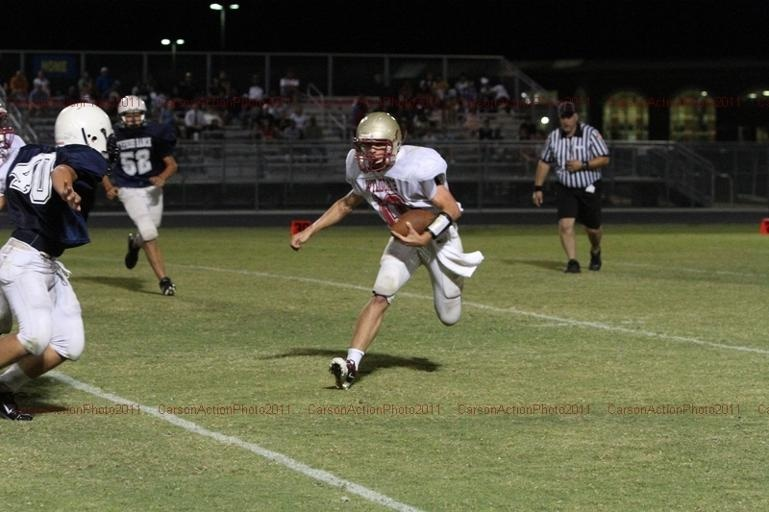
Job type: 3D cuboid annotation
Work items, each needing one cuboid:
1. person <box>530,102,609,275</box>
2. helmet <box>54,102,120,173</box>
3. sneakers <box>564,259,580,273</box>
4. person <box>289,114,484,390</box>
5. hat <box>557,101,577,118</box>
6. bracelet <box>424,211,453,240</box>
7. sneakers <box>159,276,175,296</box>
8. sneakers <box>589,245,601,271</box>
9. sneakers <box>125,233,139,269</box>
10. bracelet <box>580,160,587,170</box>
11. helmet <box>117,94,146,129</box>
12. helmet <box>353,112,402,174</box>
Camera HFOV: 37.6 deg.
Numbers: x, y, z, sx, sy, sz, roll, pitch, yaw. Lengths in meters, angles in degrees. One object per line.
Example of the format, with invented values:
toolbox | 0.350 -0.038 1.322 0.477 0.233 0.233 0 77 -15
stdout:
person | 2.425 -0.878 14.738 0.926 2.276 0.890 3 16 8
helmet | -2.369 -0.973 8.980 0.613 0.484 0.450 -9 18 -37
sneakers | 2.452 0.141 14.782 0.153 0.142 0.240 -1 -9 6
person | 0.165 -0.065 9.701 1.316 2.289 1.034 0 16 -2
hat | 2.319 -1.872 14.412 0.184 0.127 0.257 -6 9 24
bracelet | 0.464 -0.271 9.430 0.120 0.160 0.259 -49 -2 41
sneakers | -2.496 0.335 13.006 0.184 0.222 0.271 -3 15 -11
sneakers | 2.778 0.008 14.902 0.160 0.346 0.287 3 -4 28
sneakers | -3.240 -0.059 14.518 0.252 0.451 0.169 9 16 -9
bracelet | 2.533 -1.145 14.293 0.089 0.109 0.086 4 16 12
helmet | -2.849 -1.676 12.982 0.343 0.291 0.390 -6 28 -17
helmet | -0.051 -0.949 9.496 0.454 0.411 0.539 3 27 25
